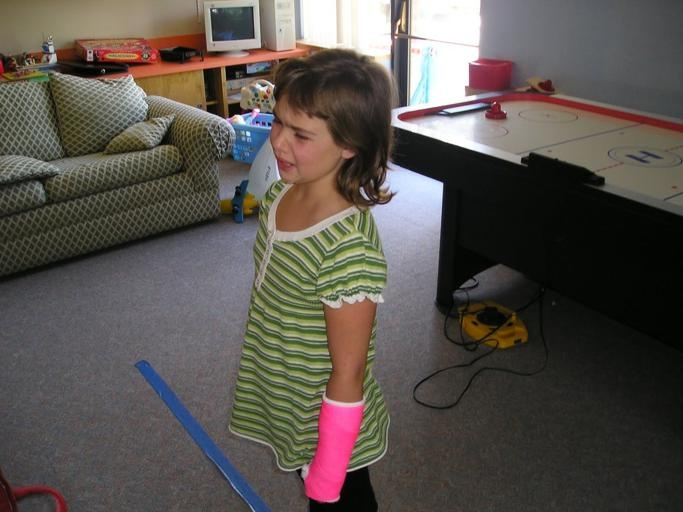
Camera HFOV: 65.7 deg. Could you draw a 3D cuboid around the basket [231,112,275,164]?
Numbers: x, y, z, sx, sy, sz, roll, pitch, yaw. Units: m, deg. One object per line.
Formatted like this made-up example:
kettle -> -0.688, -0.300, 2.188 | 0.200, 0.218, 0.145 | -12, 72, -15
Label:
basket -> -0.788, -1.017, 4.526 | 0.373, 0.261, 0.290 | 18, 22, 32
